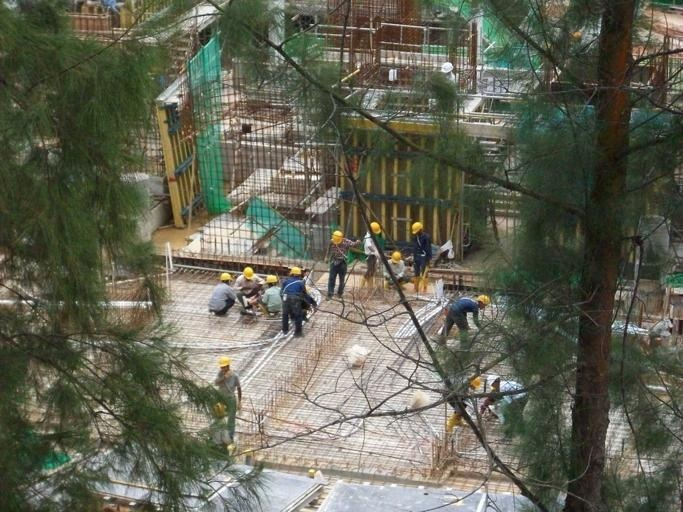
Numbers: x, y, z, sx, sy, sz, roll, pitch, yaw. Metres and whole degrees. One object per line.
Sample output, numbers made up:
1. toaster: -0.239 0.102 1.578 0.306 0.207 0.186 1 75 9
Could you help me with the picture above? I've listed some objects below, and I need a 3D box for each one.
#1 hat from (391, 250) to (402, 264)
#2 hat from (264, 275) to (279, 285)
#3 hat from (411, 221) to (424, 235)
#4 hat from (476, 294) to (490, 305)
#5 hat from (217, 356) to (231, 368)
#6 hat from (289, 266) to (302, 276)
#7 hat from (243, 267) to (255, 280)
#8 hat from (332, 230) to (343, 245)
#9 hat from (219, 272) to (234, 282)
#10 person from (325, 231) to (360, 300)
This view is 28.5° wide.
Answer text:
1. hat: 0.789 0.013 19.192 0.112 0.094 0.164 1 29 -8
2. hat: -0.985 0.333 18.870 0.114 0.080 0.143 -13 1 -31
3. hat: 1.118 -0.434 19.283 0.139 0.103 0.208 -2 43 51
4. hat: 1.385 0.445 13.019 0.101 0.076 0.140 22 8 -1
5. hat: -1.340 1.257 15.488 0.127 0.094 0.171 -7 9 5
6. hat: -0.629 0.224 18.324 0.110 0.138 0.156 10 14 3
7. hat: -1.315 0.220 19.149 0.120 0.098 0.172 2 32 -19
8. hat: -0.054 -0.279 19.042 0.130 0.119 0.203 4 44 -1
9. hat: -1.615 0.313 19.173 0.161 0.101 0.138 -6 10 -13
10. person: 0.005 0.134 19.119 0.448 0.957 1.395 -3 5 0
